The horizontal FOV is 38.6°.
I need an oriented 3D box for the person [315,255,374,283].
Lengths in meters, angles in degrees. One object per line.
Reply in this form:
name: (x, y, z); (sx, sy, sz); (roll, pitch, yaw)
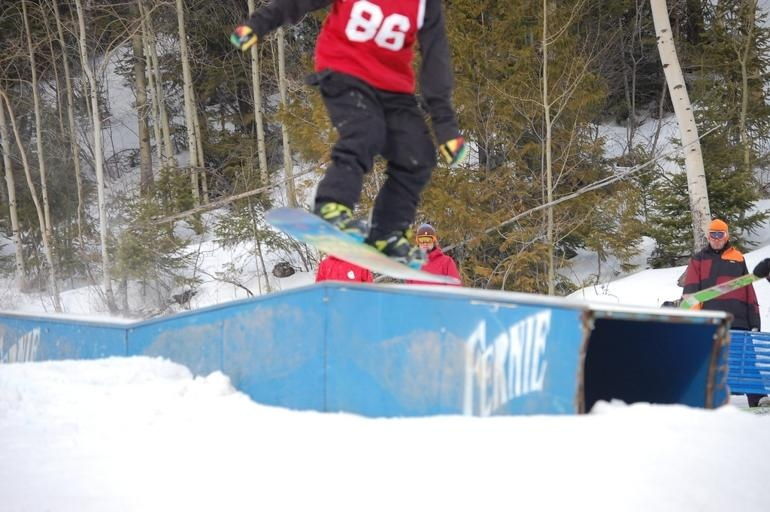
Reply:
person: (-0.953, 0.328, 27.041); (0.691, 0.652, 0.279); (5, 11, 16)

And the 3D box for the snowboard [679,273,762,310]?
snowboard: (8.265, 0.877, 27.268); (1.765, 0.467, 0.289); (-23, -10, 9)

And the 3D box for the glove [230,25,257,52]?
glove: (-3.169, -4.944, 24.968); (0.564, 0.557, 0.337); (-2, -2, -13)

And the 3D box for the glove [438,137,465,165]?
glove: (1.561, -2.426, 25.367); (0.416, 0.709, 0.226); (-3, 15, -1)
